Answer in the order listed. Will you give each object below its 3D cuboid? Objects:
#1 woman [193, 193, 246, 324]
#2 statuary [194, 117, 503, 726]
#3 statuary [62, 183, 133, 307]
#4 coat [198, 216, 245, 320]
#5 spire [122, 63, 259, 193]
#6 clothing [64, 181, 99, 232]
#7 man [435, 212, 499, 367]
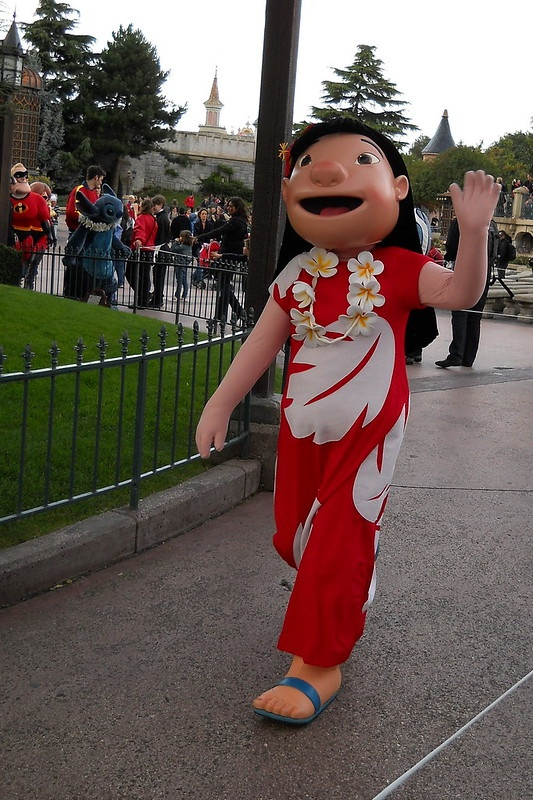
[{"bbox_3d":[-0.839,-2.536,10.371,0.609,2.225,1.018,15,14,41],"label":"woman"},{"bbox_3d":[0.191,0.042,1.657,0.868,1.692,0.479,3,2,26],"label":"statuary"},{"bbox_3d":[-3.003,-2.697,10.119,1.098,2.077,0.966,-4,29,-28],"label":"statuary"},{"bbox_3d":[-0.833,-2.528,10.445,0.906,2.086,0.700,-1,7,-43],"label":"coat"},{"bbox_3d":[-6.675,-29.430,65.680,13.733,12.500,8.379,12,19,13],"label":"spire"},{"bbox_3d":[-3.159,-3.271,9.766,0.489,0.783,0.871,1,3,-27],"label":"clothing"},{"bbox_3d":[2.865,-1.785,8.548,0.709,2.548,0.741,-1,4,-37],"label":"man"}]
